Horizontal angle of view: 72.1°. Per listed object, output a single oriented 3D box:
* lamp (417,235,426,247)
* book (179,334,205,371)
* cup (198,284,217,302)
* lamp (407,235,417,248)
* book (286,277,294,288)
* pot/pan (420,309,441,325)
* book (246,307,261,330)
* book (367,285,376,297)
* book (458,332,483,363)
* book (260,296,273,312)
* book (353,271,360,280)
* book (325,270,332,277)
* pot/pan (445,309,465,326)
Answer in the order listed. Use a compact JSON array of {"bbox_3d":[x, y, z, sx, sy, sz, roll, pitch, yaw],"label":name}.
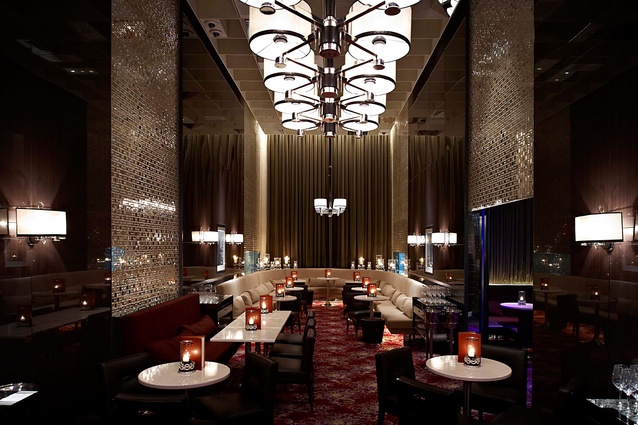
[{"bbox_3d":[2.399,0.635,10.220,0.196,0.380,0.207,-2,-28,15],"label":"lamp"},{"bbox_3d":[-1.469,1.616,5.120,0.271,0.390,0.382,-1,-4,-7],"label":"book"},{"bbox_3d":[-2.145,1.554,8.552,0.287,0.418,0.296,-1,-2,0],"label":"cup"},{"bbox_3d":[2.360,0.685,11.108,0.216,0.302,0.418,2,-4,5],"label":"lamp"},{"bbox_3d":[-0.775,1.847,11.648,0.220,0.312,0.228,-1,-2,12],"label":"book"},{"bbox_3d":[2.041,1.835,8.039,0.389,0.289,0.281,0,-9,4],"label":"pot/pan"},{"bbox_3d":[-0.992,1.603,6.622,0.257,0.340,0.172,0,-11,-4],"label":"book"},{"bbox_3d":[1.242,1.811,10.246,0.234,0.339,0.239,1,-6,-10],"label":"book"},{"bbox_3d":[1.806,1.623,5.274,0.264,0.370,0.179,-2,-4,17],"label":"book"},{"bbox_3d":[-0.936,1.650,7.954,0.274,0.358,0.237,0,-13,-3],"label":"book"},{"bbox_3d":[1.182,1.973,13.852,0.252,0.384,0.259,0,-3,-3],"label":"book"},{"bbox_3d":[0.327,1.946,14.116,0.226,0.360,0.235,1,1,11],"label":"book"},{"bbox_3d":[2.376,1.813,7.690,0.354,0.277,0.345,0,-8,-1],"label":"pot/pan"}]
